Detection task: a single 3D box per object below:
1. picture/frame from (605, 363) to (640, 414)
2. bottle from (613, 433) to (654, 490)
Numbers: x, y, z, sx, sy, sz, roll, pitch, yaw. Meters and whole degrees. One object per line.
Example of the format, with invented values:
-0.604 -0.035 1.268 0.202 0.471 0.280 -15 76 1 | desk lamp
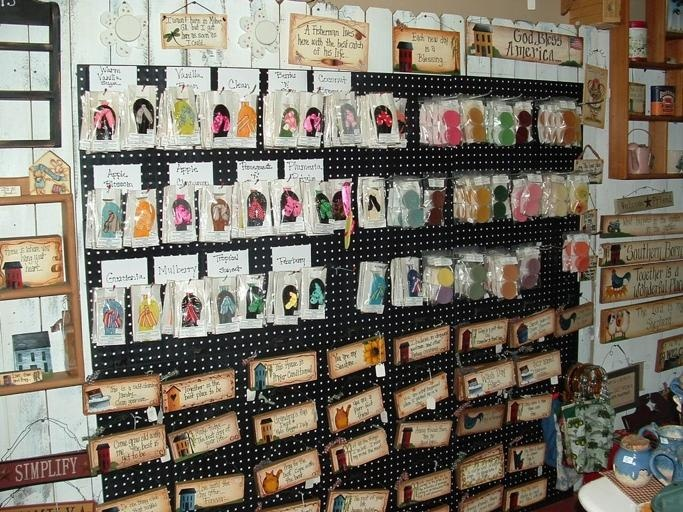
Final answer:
1.717 0.810 3.778 0.230 0.305 0.028 -19 20 -33 | picture/frame
1.293 0.921 2.719 0.168 0.212 0.172 1 2 0 | bottle
